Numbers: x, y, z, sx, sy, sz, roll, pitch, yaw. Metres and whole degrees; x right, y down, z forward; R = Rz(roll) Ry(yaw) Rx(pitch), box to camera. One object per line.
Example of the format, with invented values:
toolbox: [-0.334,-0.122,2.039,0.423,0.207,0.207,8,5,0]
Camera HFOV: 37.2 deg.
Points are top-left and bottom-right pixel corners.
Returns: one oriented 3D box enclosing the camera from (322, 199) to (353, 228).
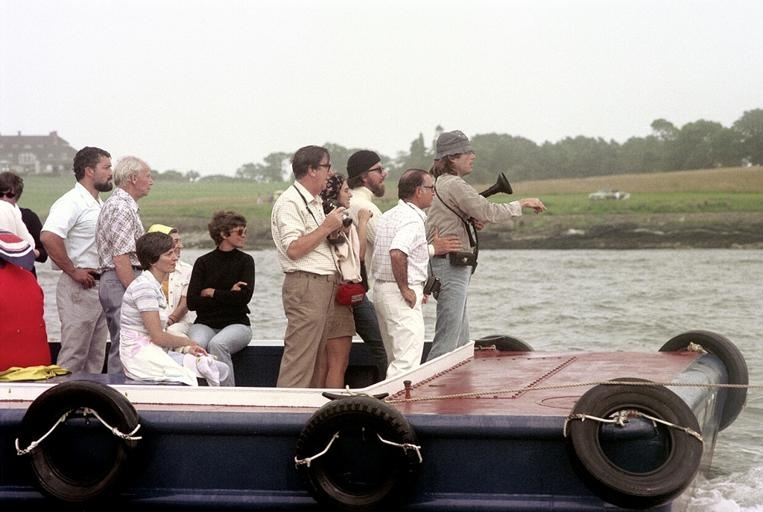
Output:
camera: [-0.367,-0.338,9.117,0.082,0.211,0.213,-39,3,-25]

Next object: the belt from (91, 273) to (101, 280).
belt: [-2.460,0.182,9.769,0.092,0.081,0.022,23,43,32]

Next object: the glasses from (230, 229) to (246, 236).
glasses: [-1.211,-0.197,9.615,0.069,0.068,0.082,-5,0,8]
